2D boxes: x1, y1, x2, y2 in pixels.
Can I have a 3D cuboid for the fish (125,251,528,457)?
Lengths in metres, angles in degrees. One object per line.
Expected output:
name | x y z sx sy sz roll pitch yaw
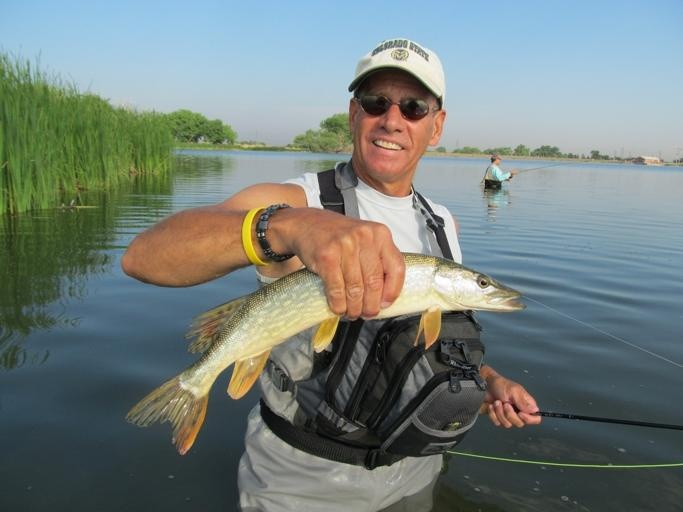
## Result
fish | -0.150 0.534 2.637 2.036 1.116 0.445 1 15 -5

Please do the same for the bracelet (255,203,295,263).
bracelet | -0.391 -0.110 2.389 0.225 0.302 0.301 1 0 11
